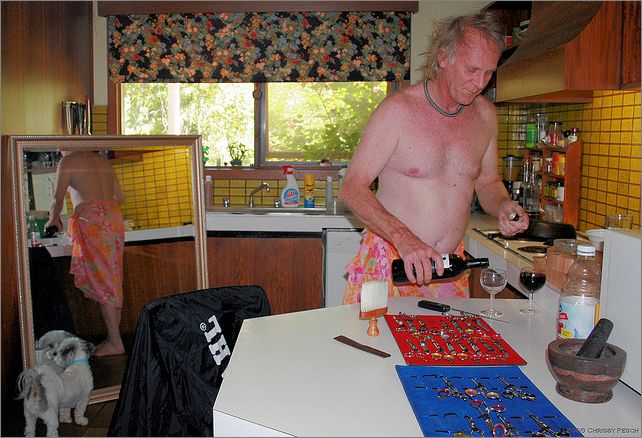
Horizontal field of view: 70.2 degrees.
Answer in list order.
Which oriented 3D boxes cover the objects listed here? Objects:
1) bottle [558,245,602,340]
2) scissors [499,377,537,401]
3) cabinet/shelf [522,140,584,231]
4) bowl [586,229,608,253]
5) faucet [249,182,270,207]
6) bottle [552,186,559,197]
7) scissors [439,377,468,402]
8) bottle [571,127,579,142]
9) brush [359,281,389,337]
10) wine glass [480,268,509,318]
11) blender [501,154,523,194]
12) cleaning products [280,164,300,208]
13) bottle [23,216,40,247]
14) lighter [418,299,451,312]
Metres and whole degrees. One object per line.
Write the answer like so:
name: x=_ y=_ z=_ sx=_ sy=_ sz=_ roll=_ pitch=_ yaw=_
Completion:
bottle: x=0.855 y=0.243 z=1.502 sx=0.116 sy=0.302 sz=0.349 roll=5 pitch=12 yaw=31
scissors: x=0.541 y=0.486 z=1.285 sx=0.072 sy=0.023 sz=0.114 roll=-11 pitch=14 yaw=-43
cabinet/shelf: x=1.551 y=-0.216 z=3.013 sx=0.145 sy=0.577 sz=0.609 roll=0 pitch=4 yaw=-3
bowl: x=1.159 y=0.089 z=1.910 sx=0.084 sy=0.062 sz=0.093 roll=-10 pitch=16 yaw=-35
faucet: x=-0.549 y=-0.227 z=4.134 sx=0.195 sy=0.213 sz=0.106 roll=-3 pitch=10 yaw=-9
bottle: x=1.577 y=-0.183 z=3.070 sx=0.012 sy=0.050 sz=0.049 roll=5 pitch=0 yaw=-31
scissors: x=0.376 y=0.480 z=1.292 sx=0.076 sy=0.017 sz=0.094 roll=2 pitch=11 yaw=15
bottle: x=1.636 y=-0.541 z=2.933 sx=0.045 sy=0.091 sz=0.109 roll=4 pitch=12 yaw=29
brush: x=0.189 y=0.309 z=1.626 sx=0.092 sy=0.165 sz=0.154 roll=1 pitch=10 yaw=10
wine glass: x=0.693 y=0.276 z=1.826 sx=0.088 sy=0.167 sz=0.263 roll=3 pitch=11 yaw=21
blender: x=1.582 y=-0.368 z=3.774 sx=0.170 sy=0.308 sz=0.174 roll=2 pitch=9 yaw=33
cleaning products: x=-0.275 y=-0.300 z=4.071 sx=0.163 sy=0.365 sz=0.190 roll=-2 pitch=10 yaw=-4
bottle: x=-1.740 y=0.071 z=2.769 sx=0.077 sy=0.188 sz=0.025 roll=-8 pitch=12 yaw=-32
lighter: x=0.453 y=0.341 z=1.806 sx=0.124 sy=0.027 sz=0.090 roll=5 pitch=12 yaw=31
